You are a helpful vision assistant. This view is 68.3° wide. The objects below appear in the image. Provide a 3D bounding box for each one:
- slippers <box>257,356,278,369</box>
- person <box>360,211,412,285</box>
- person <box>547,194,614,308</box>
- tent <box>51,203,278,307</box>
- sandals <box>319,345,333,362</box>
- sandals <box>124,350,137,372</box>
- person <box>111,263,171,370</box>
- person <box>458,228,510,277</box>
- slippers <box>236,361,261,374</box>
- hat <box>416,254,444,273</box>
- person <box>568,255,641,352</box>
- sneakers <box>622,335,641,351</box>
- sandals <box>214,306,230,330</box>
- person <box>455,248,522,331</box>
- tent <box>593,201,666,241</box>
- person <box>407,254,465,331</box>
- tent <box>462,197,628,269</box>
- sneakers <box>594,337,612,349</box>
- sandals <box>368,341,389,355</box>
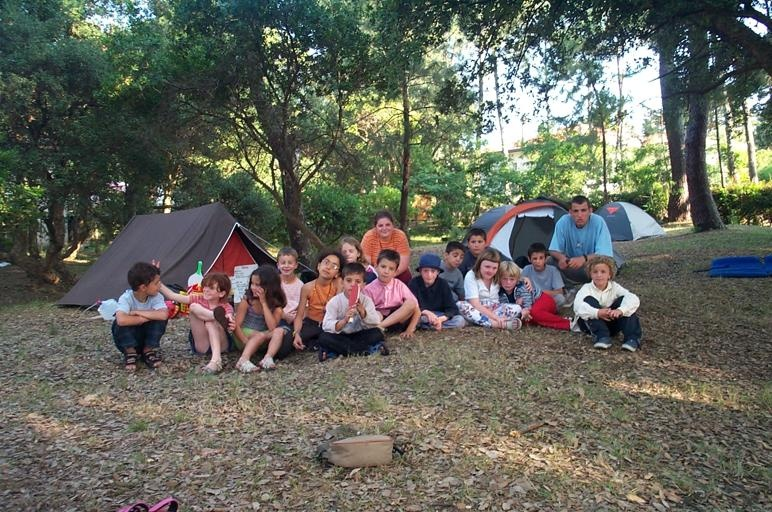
[{"bbox_3d":[-1.450,1.310,6.973,0.084,0.122,0.206,-5,7,-40],"label":"slippers"},{"bbox_3d":[0.030,-0.213,9.005,1.083,1.278,1.007,-1,14,-1],"label":"person"},{"bbox_3d":[2.942,-0.074,8.631,1.139,1.570,1.110,-28,29,-36],"label":"person"},{"bbox_3d":[-4.052,-0.375,11.129,2.452,0.967,2.641,-8,-7,-32],"label":"tent"},{"bbox_3d":[-0.758,1.231,7.226,0.189,0.081,0.137,-11,-32,-38],"label":"sandals"},{"bbox_3d":[-3.149,1.286,7.013,0.104,0.131,0.311,-4,11,-41],"label":"sandals"},{"bbox_3d":[-3.064,0.733,7.092,0.636,1.408,0.316,-6,2,-25],"label":"person"},{"bbox_3d":[1.415,-0.061,8.878,0.738,0.689,0.734,-3,4,-19],"label":"person"},{"bbox_3d":[-1.699,1.341,6.926,0.216,0.081,0.125,1,3,33],"label":"slippers"},{"bbox_3d":[0.652,0.112,8.578,0.399,0.199,0.418,2,-7,2],"label":"hat"},{"bbox_3d":[2.822,0.574,7.421,0.691,1.122,1.140,-2,8,6],"label":"person"},{"bbox_3d":[3.000,1.072,7.011,0.177,0.131,0.199,-5,1,27],"label":"sneakers"},{"bbox_3d":[-2.054,0.777,7.154,0.122,0.287,0.121,-26,14,-32],"label":"sandals"},{"bbox_3d":[1.456,0.481,8.174,0.877,1.094,1.147,-5,9,-19],"label":"person"},{"bbox_3d":[6.922,-0.988,16.219,1.756,0.782,1.769,9,14,42],"label":"tent"},{"bbox_3d":[0.698,0.545,8.069,0.971,1.066,0.865,7,17,27],"label":"person"},{"bbox_3d":[3.040,-0.623,11.579,2.219,1.019,2.428,-10,-6,10],"label":"tent"},{"bbox_3d":[2.707,1.074,7.080,0.329,0.116,0.140,-6,1,-35],"label":"sneakers"},{"bbox_3d":[-0.100,1.180,7.230,0.198,0.162,0.160,-11,26,-5],"label":"sandals"}]
